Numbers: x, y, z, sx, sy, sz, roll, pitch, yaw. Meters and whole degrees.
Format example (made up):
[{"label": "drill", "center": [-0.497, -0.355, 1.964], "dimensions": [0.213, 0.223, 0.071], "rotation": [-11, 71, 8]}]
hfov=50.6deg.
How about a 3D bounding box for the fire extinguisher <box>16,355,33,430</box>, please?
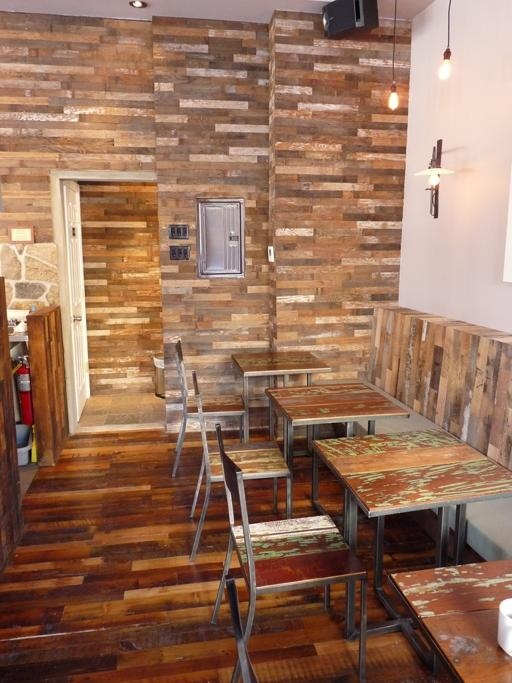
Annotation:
[{"label": "fire extinguisher", "center": [-1.615, 0.358, 3.767], "dimensions": [0.087, 0.498, 0.361], "rotation": [-6, 11, -26]}]
